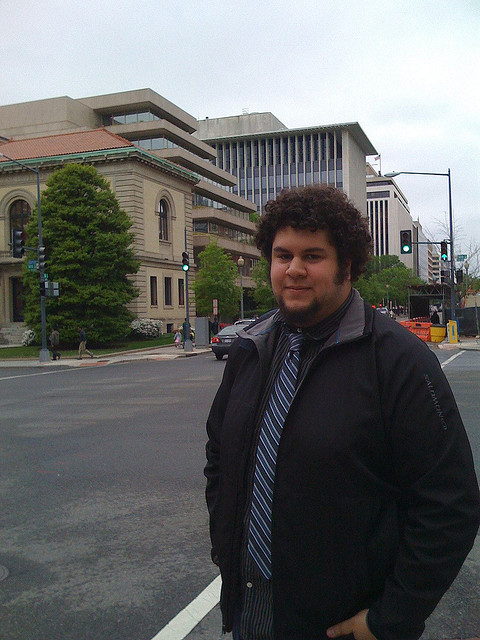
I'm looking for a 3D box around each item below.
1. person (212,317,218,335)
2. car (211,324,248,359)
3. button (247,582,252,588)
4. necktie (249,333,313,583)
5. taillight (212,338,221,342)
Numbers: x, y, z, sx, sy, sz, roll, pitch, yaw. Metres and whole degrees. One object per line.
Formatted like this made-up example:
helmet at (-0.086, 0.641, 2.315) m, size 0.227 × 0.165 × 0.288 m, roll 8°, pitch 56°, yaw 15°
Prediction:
person at (-1.594, 0.328, 35.830) m, size 0.266 × 1.008 × 1.004 m, roll -2°, pitch 0°, yaw 2°
car at (-0.644, 0.869, 23.597) m, size 0.880 × 0.872 × 2.341 m, roll -1°, pitch 3°, yaw 7°
button at (0.027, 0.798, 1.749) m, size 0.015 × 0.005 × 0.017 m, roll -3°, pitch -4°, yaw 2°
necktie at (0.137, 0.407, 1.772) m, size 0.226 × 0.728 × 0.146 m, roll -2°, pitch 0°, yaw -40°
taillight at (-0.972, 0.794, 23.227) m, size 0.384 × 0.151 × 0.090 m, roll -3°, pitch 0°, yaw 30°
